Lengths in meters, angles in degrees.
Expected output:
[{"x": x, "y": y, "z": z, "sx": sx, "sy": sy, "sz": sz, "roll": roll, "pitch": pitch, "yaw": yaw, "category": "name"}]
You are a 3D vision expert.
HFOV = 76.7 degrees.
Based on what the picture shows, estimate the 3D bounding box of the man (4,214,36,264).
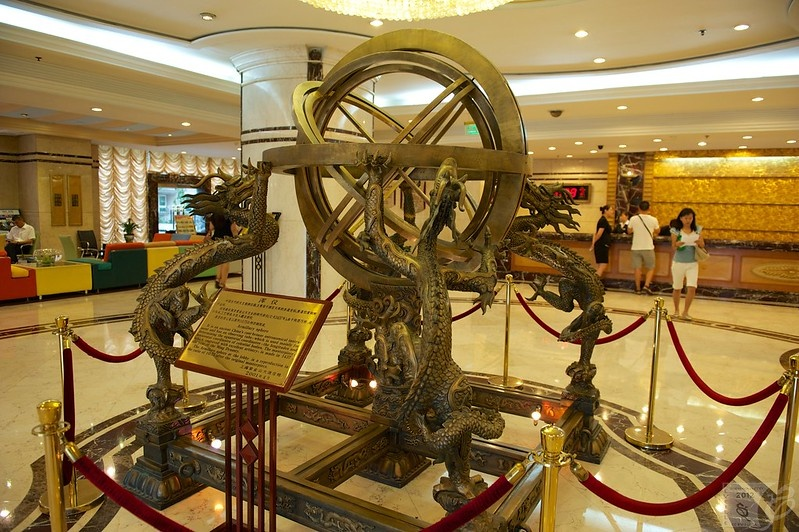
[{"x": -8.435, "y": -0.612, "z": 11.185, "sx": 0.553, "sy": 0.971, "sz": 2.028, "roll": -11, "pitch": 16, "yaw": -36, "category": "man"}]

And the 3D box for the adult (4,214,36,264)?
[{"x": -8.440, "y": -0.612, "z": 11.187, "sx": 0.544, "sy": 0.971, "sz": 2.043, "roll": -10, "pitch": 16, "yaw": -35, "category": "adult"}]

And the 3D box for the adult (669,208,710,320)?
[{"x": 4.278, "y": -0.041, "z": 7.535, "sx": 0.521, "sy": 1.579, "sz": 0.536, "roll": 1, "pitch": 0, "yaw": 4, "category": "adult"}]

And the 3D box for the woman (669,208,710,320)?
[{"x": 4.301, "y": -0.039, "z": 7.537, "sx": 0.585, "sy": 1.584, "sz": 0.578, "roll": 1, "pitch": 1, "yaw": -13, "category": "woman"}]

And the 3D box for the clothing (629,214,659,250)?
[{"x": 4.662, "y": -0.674, "z": 9.729, "sx": 0.598, "sy": 0.661, "sz": 0.383, "roll": 0, "pitch": 7, "yaw": 2, "category": "clothing"}]

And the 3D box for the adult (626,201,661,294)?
[{"x": 4.763, "y": -0.365, "z": 9.897, "sx": 0.632, "sy": 1.762, "sz": 0.826, "roll": 3, "pitch": 7, "yaw": 33, "category": "adult"}]

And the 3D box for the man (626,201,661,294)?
[{"x": 4.755, "y": -0.357, "z": 9.894, "sx": 0.622, "sy": 1.726, "sz": 0.811, "roll": 1, "pitch": 5, "yaw": 21, "category": "man"}]

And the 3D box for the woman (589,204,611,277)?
[{"x": 4.245, "y": -0.424, "z": 10.565, "sx": 0.566, "sy": 1.633, "sz": 0.531, "roll": 3, "pitch": 13, "yaw": 30, "category": "woman"}]
